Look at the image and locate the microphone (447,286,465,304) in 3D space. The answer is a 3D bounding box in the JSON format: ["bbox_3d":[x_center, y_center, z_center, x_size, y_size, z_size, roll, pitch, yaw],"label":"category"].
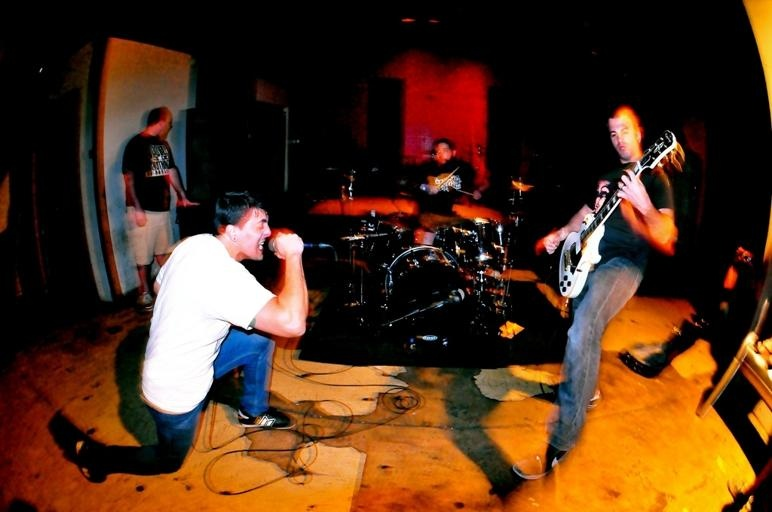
[{"bbox_3d":[0.896,0.490,6.550,0.181,0.178,0.128,-4,36,30],"label":"microphone"}]

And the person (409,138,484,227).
[{"bbox_3d":[0.756,-0.945,7.058,0.931,1.181,0.371,-3,0,10],"label":"person"}]

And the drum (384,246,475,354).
[{"bbox_3d":[0.484,0.402,6.557,1.116,1.142,1.361,2,14,5],"label":"drum"}]

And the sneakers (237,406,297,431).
[{"bbox_3d":[-1.166,1.612,5.196,0.603,0.238,0.210,0,-7,-5],"label":"sneakers"}]

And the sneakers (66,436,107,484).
[{"bbox_3d":[-2.588,1.775,4.482,0.154,0.480,0.284,-40,13,-34],"label":"sneakers"}]

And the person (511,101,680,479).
[{"bbox_3d":[2.040,0.284,4.829,0.990,3.279,1.466,10,17,31],"label":"person"}]

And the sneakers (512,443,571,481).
[{"bbox_3d":[1.429,1.895,4.755,0.481,0.113,0.280,-33,25,-11],"label":"sneakers"}]

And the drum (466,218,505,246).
[{"bbox_3d":[1.291,-0.297,6.420,0.415,0.333,0.242,3,14,7],"label":"drum"}]
